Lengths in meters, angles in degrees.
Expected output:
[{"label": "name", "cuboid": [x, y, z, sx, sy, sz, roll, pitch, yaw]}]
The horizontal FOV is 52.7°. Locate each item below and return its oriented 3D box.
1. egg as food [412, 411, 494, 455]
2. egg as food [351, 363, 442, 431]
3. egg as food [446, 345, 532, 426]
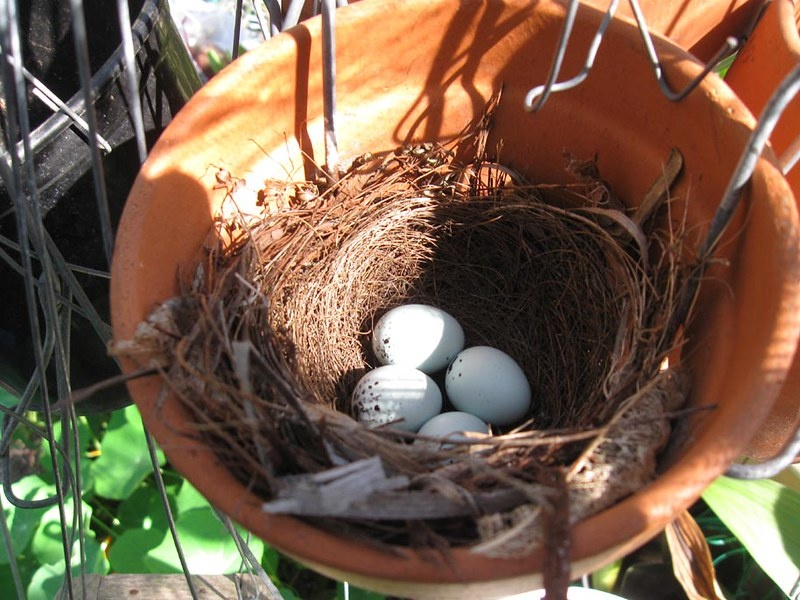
[{"label": "egg as food", "cuboid": [0.077, 0.168, 1.087, 0.060, 0.056, 0.040, 3, 106, 27]}, {"label": "egg as food", "cuboid": [-0.003, 0.142, 1.167, 0.101, 0.084, 0.089, 4, 60, -3]}, {"label": "egg as food", "cuboid": [0.138, 0.126, 1.244, 0.114, 0.097, 0.100, 28, 73, 18]}]
